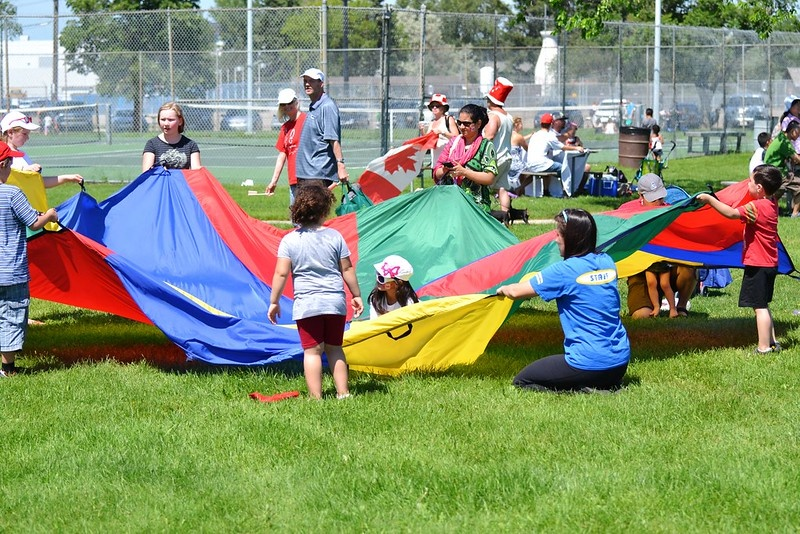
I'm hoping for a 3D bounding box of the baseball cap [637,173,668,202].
[{"bbox_3d":[3.514,-1.141,20.598,0.298,0.205,0.419,-18,40,-10],"label":"baseball cap"}]

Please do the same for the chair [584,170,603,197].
[{"bbox_3d":[3.912,-1.691,29.795,0.404,0.559,0.563,2,5,26],"label":"chair"}]

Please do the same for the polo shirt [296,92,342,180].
[{"bbox_3d":[-1.250,-1.955,22.319,0.741,1.493,1.249,-1,10,-16],"label":"polo shirt"}]

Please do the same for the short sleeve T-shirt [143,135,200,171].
[{"bbox_3d":[-3.340,-1.493,21.480,0.815,0.794,0.452,-1,-2,-13],"label":"short sleeve T-shirt"}]

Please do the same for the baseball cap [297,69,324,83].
[{"bbox_3d":[-1.305,-2.885,21.937,0.307,0.172,0.327,-1,8,-11],"label":"baseball cap"}]

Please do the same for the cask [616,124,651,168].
[{"bbox_3d":[5.435,-2.739,33.340,0.849,0.941,0.871,-1,7,-4],"label":"cask"}]

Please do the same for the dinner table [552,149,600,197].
[{"bbox_3d":[3.535,-1.896,29.384,0.871,0.869,0.824,-5,6,-36],"label":"dinner table"}]

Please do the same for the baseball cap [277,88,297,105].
[{"bbox_3d":[-1.733,-2.677,22.556,0.282,0.221,0.388,-8,2,8],"label":"baseball cap"}]

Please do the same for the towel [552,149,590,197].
[{"bbox_3d":[3.437,-1.930,29.395,0.689,0.946,0.869,0,2,6],"label":"towel"}]

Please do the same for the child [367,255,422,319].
[{"bbox_3d":[0.003,0.266,19.866,0.746,0.972,0.804,-2,8,-27],"label":"child"}]

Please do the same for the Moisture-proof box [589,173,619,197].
[{"bbox_3d":[4.083,-1.640,29.498,0.601,0.423,0.425,3,3,43],"label":"Moisture-proof box"}]

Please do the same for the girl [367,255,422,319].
[{"bbox_3d":[-0.026,0.203,19.951,0.746,0.972,0.804,-2,8,-27],"label":"girl"}]

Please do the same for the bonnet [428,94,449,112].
[{"bbox_3d":[0.694,-2.979,26.192,0.295,0.210,0.418,2,-3,6],"label":"bonnet"}]

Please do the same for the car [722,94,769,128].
[{"bbox_3d":[9.319,-4.258,39.689,0.745,0.643,1.396,-1,1,17],"label":"car"}]

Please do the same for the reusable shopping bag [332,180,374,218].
[{"bbox_3d":[-0.697,-1.030,22.054,0.537,0.633,0.245,-25,-2,-5],"label":"reusable shopping bag"}]
